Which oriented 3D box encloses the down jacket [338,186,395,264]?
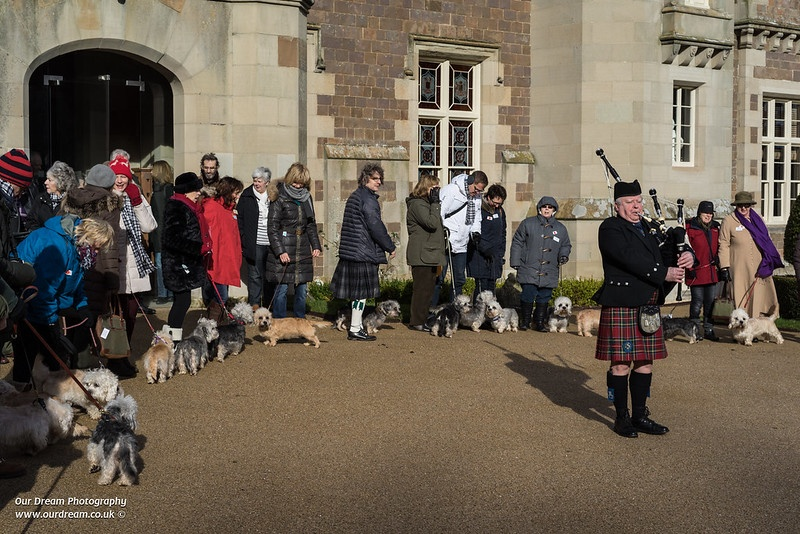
[{"bbox_3d":[-0.479,-0.554,11.644,0.474,1.665,0.552,-1,3,-34],"label":"down jacket"}]

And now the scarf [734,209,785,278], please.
[{"bbox_3d":[5.860,-0.387,13.016,0.772,1.084,0.372,7,14,23],"label":"scarf"}]

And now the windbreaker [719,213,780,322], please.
[{"bbox_3d":[5.683,0.059,13.125,0.684,2.168,0.908,0,0,0],"label":"windbreaker"}]

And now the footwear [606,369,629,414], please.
[{"bbox_3d":[2.424,1.397,8.811,0.219,0.393,0.231,-2,3,39],"label":"footwear"}]

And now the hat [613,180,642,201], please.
[{"bbox_3d":[2.524,-0.865,8.872,0.225,0.178,0.239,-2,0,37],"label":"hat"}]

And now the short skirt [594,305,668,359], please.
[{"bbox_3d":[2.559,0.768,8.877,0.826,0.885,0.490,1,-3,-1],"label":"short skirt"}]

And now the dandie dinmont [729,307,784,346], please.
[{"bbox_3d":[5.509,0.949,12.359,0.919,0.615,0.494,-6,15,-25],"label":"dandie dinmont"}]

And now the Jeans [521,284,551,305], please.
[{"bbox_3d":[2.218,0.451,12.914,0.451,0.400,0.294,1,14,6],"label":"Jeans"}]
